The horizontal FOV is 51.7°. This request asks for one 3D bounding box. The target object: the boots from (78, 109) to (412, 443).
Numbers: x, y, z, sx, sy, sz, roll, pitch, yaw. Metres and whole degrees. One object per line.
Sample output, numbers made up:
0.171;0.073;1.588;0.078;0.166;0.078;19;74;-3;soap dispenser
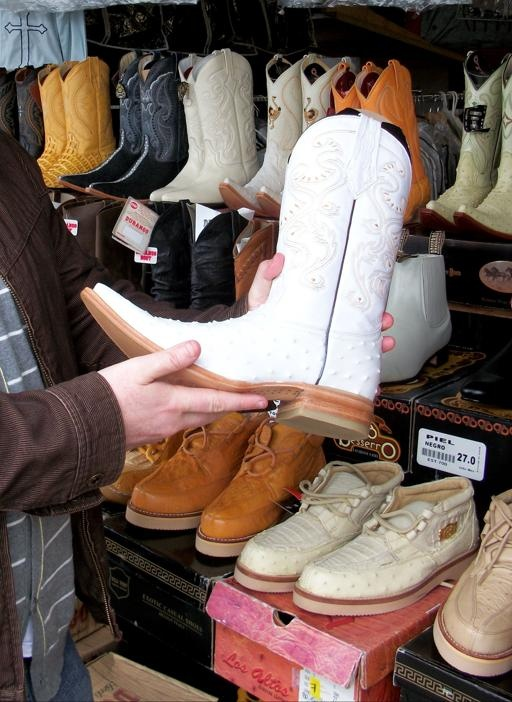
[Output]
0.009;-0.065;0.585;0.371;0.361;0.144;-6;19;-6;boots
